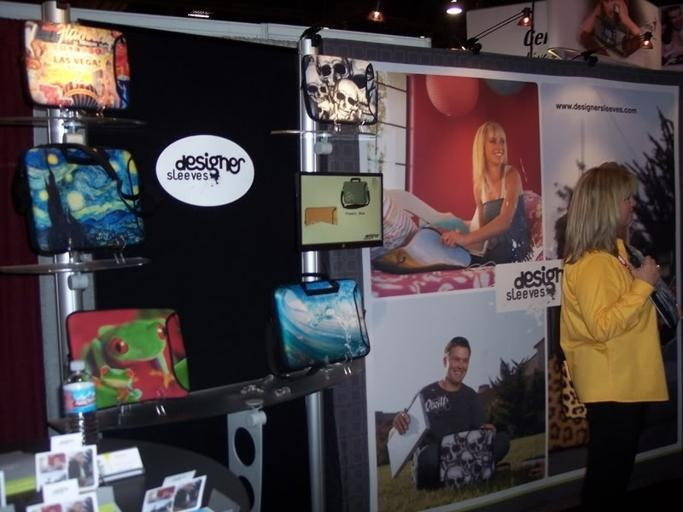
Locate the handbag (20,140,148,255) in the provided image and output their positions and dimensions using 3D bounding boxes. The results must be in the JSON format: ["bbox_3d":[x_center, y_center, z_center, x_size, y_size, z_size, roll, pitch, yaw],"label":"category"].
[{"bbox_3d":[-1.078,-0.239,2.548,0.427,0.440,0.296,-7,-1,-30],"label":"handbag"}]

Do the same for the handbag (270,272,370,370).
[{"bbox_3d":[-0.118,0.311,2.861,0.399,0.399,0.175,-6,-7,-29],"label":"handbag"}]

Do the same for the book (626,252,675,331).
[{"bbox_3d":[1.646,0.131,3.303,0.117,0.503,0.332,-7,-6,18],"label":"book"}]

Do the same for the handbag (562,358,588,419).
[{"bbox_3d":[1.390,0.830,3.722,0.102,0.379,0.278,2,4,16],"label":"handbag"}]

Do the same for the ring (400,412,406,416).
[{"bbox_3d":[0.336,0.864,3.346,0.017,0.020,0.012,2,0,-26],"label":"ring"}]

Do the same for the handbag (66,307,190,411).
[{"bbox_3d":[-0.926,0.356,2.594,0.494,0.554,0.128,-14,40,-17],"label":"handbag"}]
